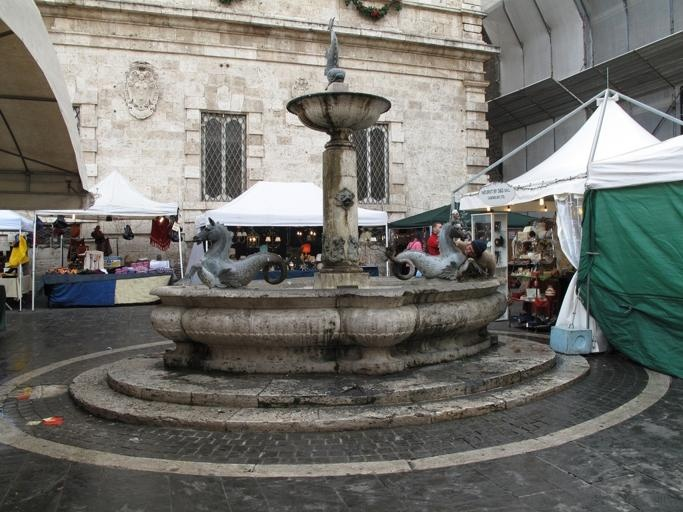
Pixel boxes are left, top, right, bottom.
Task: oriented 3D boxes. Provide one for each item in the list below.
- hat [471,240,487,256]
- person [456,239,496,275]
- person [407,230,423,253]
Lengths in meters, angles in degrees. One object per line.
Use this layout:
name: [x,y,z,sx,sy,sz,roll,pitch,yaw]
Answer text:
hat: [2.246,-0.141,9.960,0.240,0.195,0.282,3,11,9]
person: [2.203,0.050,10.125,0.442,0.458,1.181,-5,-16,32]
person: [1.986,-0.412,16.571,0.439,0.598,0.726,5,-2,-1]
